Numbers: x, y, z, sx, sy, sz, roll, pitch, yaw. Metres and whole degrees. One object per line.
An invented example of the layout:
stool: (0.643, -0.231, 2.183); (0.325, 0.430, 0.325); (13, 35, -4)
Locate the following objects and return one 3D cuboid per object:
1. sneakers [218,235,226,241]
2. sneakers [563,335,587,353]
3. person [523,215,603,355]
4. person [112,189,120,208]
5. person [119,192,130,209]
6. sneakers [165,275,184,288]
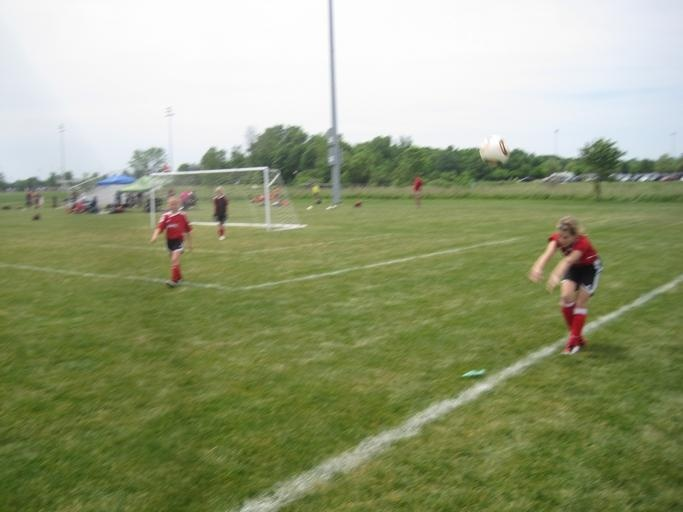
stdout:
sneakers: (-3.784, -0.596, 17.307); (0.142, 0.123, 0.318); (-1, -1, 2)
sneakers: (2.530, 0.970, 5.989); (0.374, 0.132, 0.121); (-16, 0, -38)
person: (2.446, 0.314, 5.921); (0.428, 1.473, 1.054); (9, 20, 40)
person: (-13.092, -3.403, 31.793); (0.440, 0.755, 0.561); (-6, 15, -7)
person: (-12.730, -3.299, 31.866); (0.451, 0.846, 0.799); (-8, 15, -11)
sneakers: (-3.058, 0.500, 9.979); (0.115, 0.126, 0.307); (24, -16, 5)
